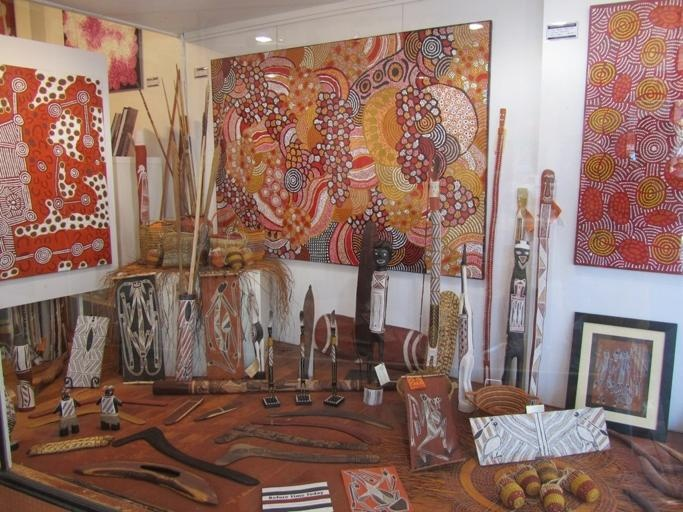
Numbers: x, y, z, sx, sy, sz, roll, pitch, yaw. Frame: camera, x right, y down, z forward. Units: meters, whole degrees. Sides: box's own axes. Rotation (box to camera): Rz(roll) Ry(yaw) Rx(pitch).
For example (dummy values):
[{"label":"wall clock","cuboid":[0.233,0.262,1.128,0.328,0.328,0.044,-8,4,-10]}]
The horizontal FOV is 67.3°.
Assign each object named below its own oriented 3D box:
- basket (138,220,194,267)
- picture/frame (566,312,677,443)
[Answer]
[{"label":"basket","cuboid":[-1.031,-0.048,3.104,0.389,0.306,0.234,8,12,37]},{"label":"picture/frame","cuboid":[1.257,0.551,2.280,0.497,0.677,0.029,1,-6,35]}]
